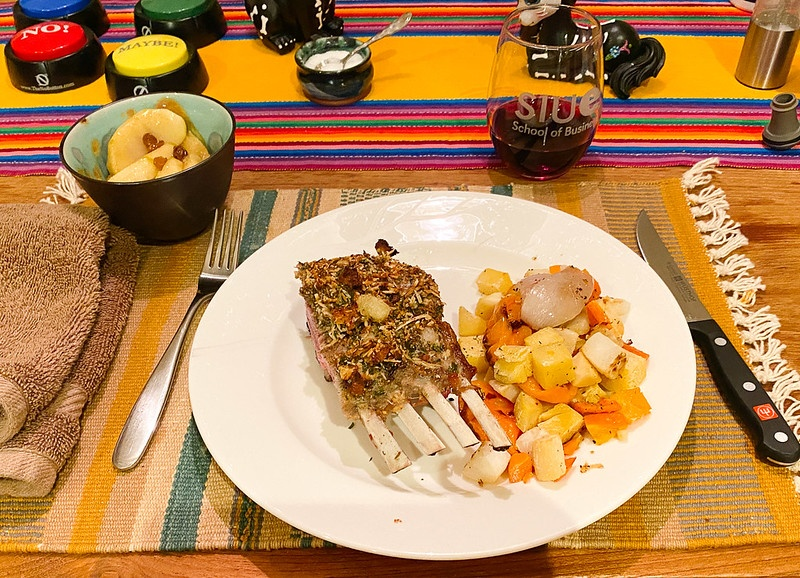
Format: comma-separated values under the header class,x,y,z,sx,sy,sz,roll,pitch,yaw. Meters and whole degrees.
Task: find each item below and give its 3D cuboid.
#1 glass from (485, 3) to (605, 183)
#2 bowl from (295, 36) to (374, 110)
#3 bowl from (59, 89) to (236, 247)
class,x,y,z,sx,sy,sz,roll,pitch,yaw
glass,0.585,-0.763,2.816,0.434,0.575,0.445,-30,51,-26
bowl,-0.325,-1.059,3.447,0.379,0.222,0.363,0,42,0
bowl,-0.989,-0.447,2.814,0.611,0.388,0.627,-1,48,1
